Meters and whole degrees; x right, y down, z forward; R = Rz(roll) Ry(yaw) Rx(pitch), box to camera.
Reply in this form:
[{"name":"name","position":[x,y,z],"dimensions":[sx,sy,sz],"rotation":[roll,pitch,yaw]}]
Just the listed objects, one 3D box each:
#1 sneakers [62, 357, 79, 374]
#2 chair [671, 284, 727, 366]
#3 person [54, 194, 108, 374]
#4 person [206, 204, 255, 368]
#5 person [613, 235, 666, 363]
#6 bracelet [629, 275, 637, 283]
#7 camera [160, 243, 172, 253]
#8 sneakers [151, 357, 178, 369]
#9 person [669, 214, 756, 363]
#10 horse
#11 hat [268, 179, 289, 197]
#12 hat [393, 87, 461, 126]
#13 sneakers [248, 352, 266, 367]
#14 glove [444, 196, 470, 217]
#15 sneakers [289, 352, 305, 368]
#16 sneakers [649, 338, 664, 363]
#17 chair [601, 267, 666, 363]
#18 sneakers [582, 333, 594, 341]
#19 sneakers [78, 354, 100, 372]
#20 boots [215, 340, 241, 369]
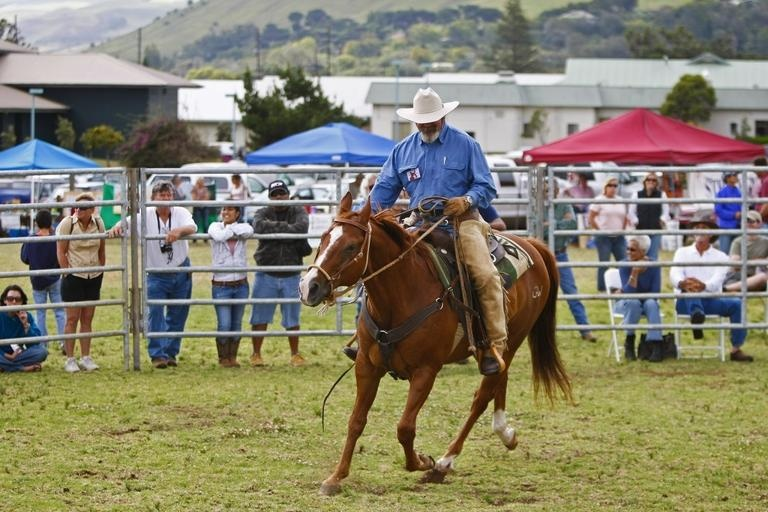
[{"name":"sneakers","position":[-5.528,1.919,30.668],"dimensions":[0.283,0.260,0.225],"rotation":[-1,-1,-8]},{"name":"chair","position":[5.814,1.497,31.953],"dimensions":[0.902,1.694,1.186],"rotation":[1,-14,4]},{"name":"person","position":[-5.395,0.475,30.777],"dimensions":[0.845,3.142,0.481],"rotation":[-1,-1,-12]},{"name":"person","position":[-2.780,0.548,31.179],"dimensions":[0.756,2.855,0.564],"rotation":[-1,-1,-6]},{"name":"person","position":[4.662,0.774,31.526],"dimensions":[0.825,2.277,0.666],"rotation":[-1,-1,7]},{"name":"bracelet","position":[4.523,0.438,31.578],"dimensions":[0.100,0.106,0.109],"rotation":[15,-26,-24]},{"name":"camera","position":[-3.909,-0.127,31.035],"dimensions":[0.212,0.125,0.143],"rotation":[2,28,-5]},{"name":"sneakers","position":[-3.921,1.912,31.016],"dimensions":[0.450,0.183,0.219],"rotation":[-1,0,-24]},{"name":"person","position":[5.874,0.646,31.421],"dimensions":[1.353,2.529,0.674],"rotation":[-1,-1,10]},{"name":"horse","position":[1.045,1.366,29.242],"dimensions":[1.830,4.907,6.728],"rotation":[4,4,40]},{"name":"hat","position":[-1.928,-1.205,31.373],"dimensions":[0.332,0.295,0.409],"rotation":[-1,0,-7]},{"name":"hat","position":[0.672,-2.453,28.580],"dimensions":[0.941,0.632,0.812],"rotation":[-1,0,-12]},{"name":"sneakers","position":[-2.313,1.877,31.316],"dimensions":[0.203,0.229,0.481],"rotation":[0,-4,-14]},{"name":"glove","position":[1.174,-0.788,28.107],"dimensions":[0.271,0.165,0.372],"rotation":[1,-3,32]},{"name":"sneakers","position":[-1.588,1.886,31.276],"dimensions":[0.227,0.208,0.472],"rotation":[-1,-1,-11]},{"name":"sneakers","position":[4.929,1.716,31.397],"dimensions":[0.259,0.385,0.209],"rotation":[-1,-1,8]},{"name":"chair","position":[4.558,0.902,32.062],"dimensions":[0.841,1.046,1.372],"rotation":[8,-2,-5]},{"name":"sneakers","position":[3.801,1.522,32.423],"dimensions":[0.308,0.151,0.117],"rotation":[-1,-1,33]},{"name":"sneakers","position":[-5.265,1.914,30.731],"dimensions":[0.161,0.199,0.453],"rotation":[2,-2,41]},{"name":"boots","position":[-2.818,1.738,31.166],"dimensions":[0.390,0.544,0.454],"rotation":[2,-6,-22]}]
